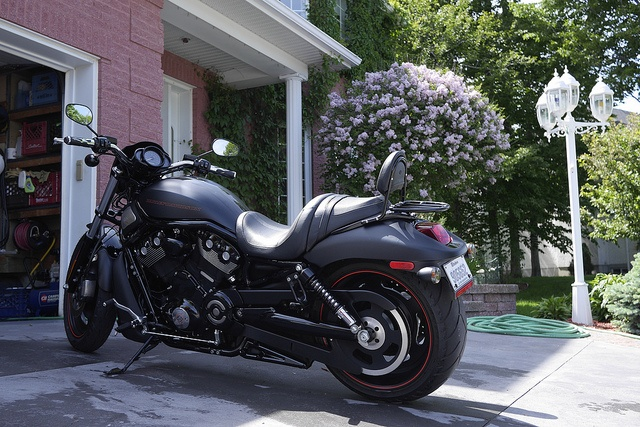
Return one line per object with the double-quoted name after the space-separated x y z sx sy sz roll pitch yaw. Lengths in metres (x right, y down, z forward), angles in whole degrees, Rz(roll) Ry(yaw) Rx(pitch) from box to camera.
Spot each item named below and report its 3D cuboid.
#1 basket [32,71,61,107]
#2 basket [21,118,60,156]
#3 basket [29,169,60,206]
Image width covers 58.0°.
-4.123 -1.870 8.524 0.159 0.486 0.499 21 26 19 "basket"
-4.097 -1.084 8.653 0.531 0.495 0.547 -1 -3 19 "basket"
-4.012 -0.359 8.379 0.434 0.332 0.253 -3 -9 27 "basket"
